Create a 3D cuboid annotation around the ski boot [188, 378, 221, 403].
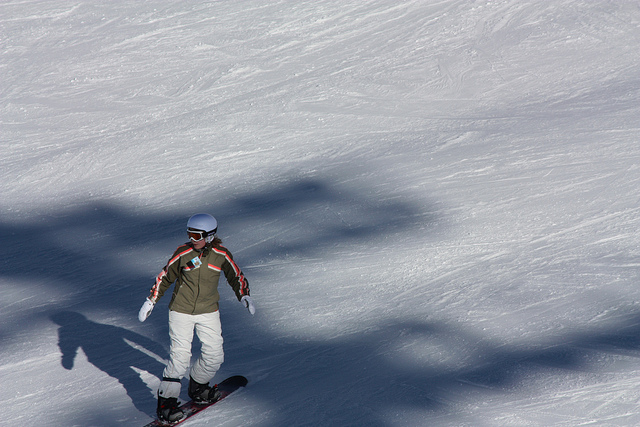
[{"bbox_3d":[-1.753,2.667,11.437,0.601,0.319,0.270,11,99,-24],"label":"ski boot"}]
